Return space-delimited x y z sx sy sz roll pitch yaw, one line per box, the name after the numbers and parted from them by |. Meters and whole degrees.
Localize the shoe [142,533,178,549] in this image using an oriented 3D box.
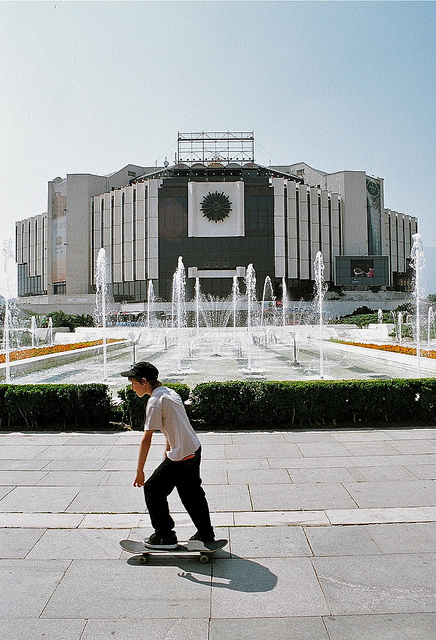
-0.432 1.630 4.950 0.236 0.121 0.109 6 -16 -1 | shoe

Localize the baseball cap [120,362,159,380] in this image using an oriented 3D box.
-0.598 0.387 5.126 0.227 0.117 0.152 3 -9 -2 | baseball cap

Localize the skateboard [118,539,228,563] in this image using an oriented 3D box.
-0.309 1.690 4.946 0.870 0.161 0.283 2 -1 -2 | skateboard

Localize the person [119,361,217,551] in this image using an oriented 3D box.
-0.470 0.955 5.791 0.698 1.400 2.054 -1 6 -8 | person
